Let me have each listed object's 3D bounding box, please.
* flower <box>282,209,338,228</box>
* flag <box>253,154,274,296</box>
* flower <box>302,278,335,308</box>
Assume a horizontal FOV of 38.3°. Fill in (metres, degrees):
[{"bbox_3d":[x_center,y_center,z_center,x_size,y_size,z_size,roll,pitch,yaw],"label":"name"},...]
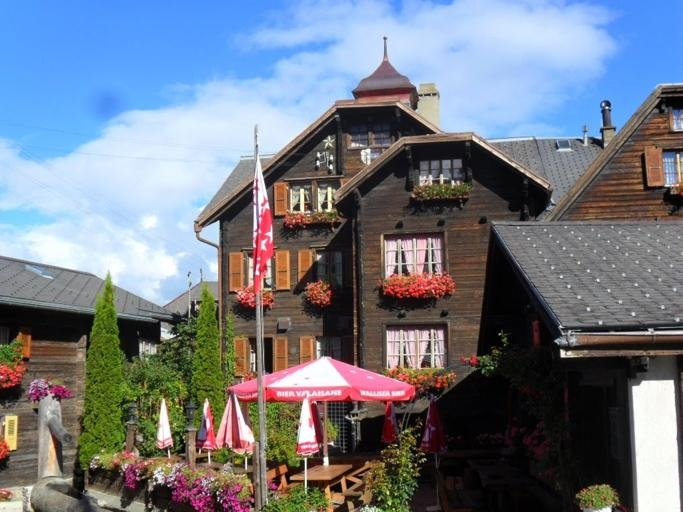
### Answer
[{"bbox_3d":[-1.005,-1.225,33.163,1.263,0.329,0.784,-2,-5,4],"label":"flower"},{"bbox_3d":[-1.738,-0.726,21.651,0.488,3.131,0.859,4,-14,-6],"label":"flag"},{"bbox_3d":[-0.769,1.263,32.635,0.841,0.949,0.837,3,-11,-33],"label":"flower"}]
